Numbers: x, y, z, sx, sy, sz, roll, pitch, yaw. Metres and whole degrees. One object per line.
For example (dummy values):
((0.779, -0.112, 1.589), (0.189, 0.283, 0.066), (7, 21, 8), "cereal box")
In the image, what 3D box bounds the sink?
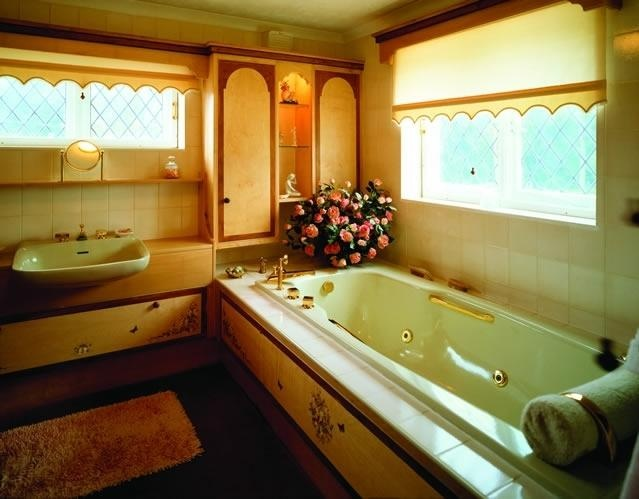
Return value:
((-1.431, 0.072, 2.785), (0.740, 0.199, 0.590), (-7, 13, -29), "sink")
